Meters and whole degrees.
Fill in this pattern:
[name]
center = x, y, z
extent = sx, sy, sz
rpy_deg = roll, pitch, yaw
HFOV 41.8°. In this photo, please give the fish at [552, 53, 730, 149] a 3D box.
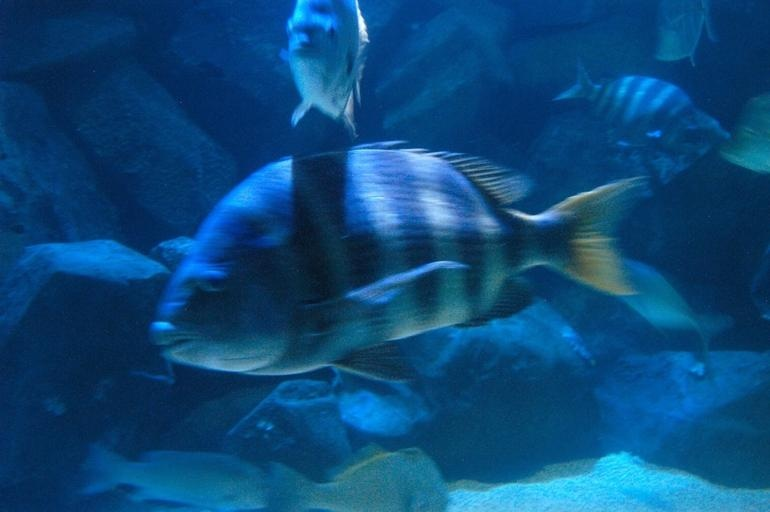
[fish]
center = 1.080, -0.651, 4.341
extent = 0.737, 0.219, 0.319
rpy_deg = 15, 7, 4
